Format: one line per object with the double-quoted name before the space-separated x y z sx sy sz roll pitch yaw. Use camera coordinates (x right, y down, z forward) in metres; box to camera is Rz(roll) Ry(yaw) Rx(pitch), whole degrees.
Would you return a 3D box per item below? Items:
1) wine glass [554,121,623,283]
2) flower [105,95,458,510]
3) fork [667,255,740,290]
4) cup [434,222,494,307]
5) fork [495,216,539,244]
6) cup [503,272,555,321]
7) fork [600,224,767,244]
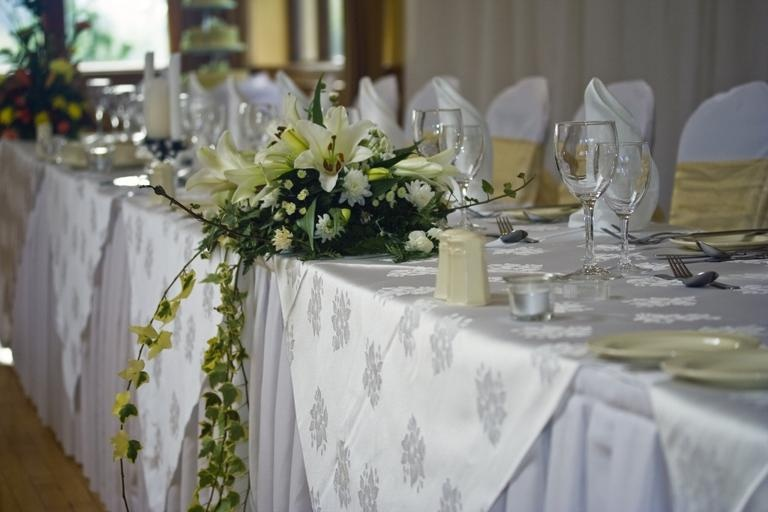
"wine glass" 0.400 -0.117 1.589 0.123 0.312 0.220 2 16 17
"flower" -0.175 0.146 2.091 0.701 1.057 0.632 13 -3 16
"fork" 0.598 0.026 1.480 0.030 0.059 0.246 -7 1 -10
"cup" 0.141 0.010 1.449 0.106 0.162 0.108 1 6 0
"fork" 0.301 -0.054 1.942 0.047 0.047 0.173 -18 -2 -4
"cup" 0.252 0.071 1.403 0.081 0.084 0.094 -3 3 -9
"fork" 0.688 -0.050 1.861 0.039 0.035 0.342 4 -9 -43
